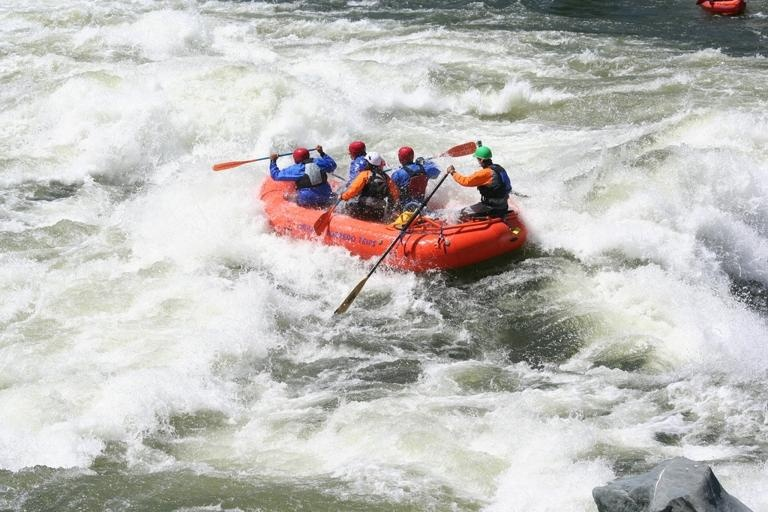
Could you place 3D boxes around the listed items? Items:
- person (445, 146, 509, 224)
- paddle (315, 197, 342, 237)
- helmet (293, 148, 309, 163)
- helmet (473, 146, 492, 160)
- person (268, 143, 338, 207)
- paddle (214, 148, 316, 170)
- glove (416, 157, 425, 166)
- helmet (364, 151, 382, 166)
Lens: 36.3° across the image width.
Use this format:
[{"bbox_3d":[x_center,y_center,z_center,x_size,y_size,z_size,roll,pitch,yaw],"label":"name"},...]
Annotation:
[{"bbox_3d":[1.821,-1.308,22.333,1.141,1.415,1.102,21,43,32],"label":"person"},{"bbox_3d":[-1.027,-0.746,22.321,0.264,0.060,1.042,47,66,-5],"label":"paddle"},{"bbox_3d":[-1.593,-1.986,23.001,0.309,0.221,0.321,-1,23,-7],"label":"helmet"},{"bbox_3d":[1.888,-1.922,21.942,0.295,0.155,0.333,-17,27,-23],"label":"helmet"},{"bbox_3d":[-1.584,-1.558,23.210,1.091,1.287,0.734,-25,58,-13],"label":"person"},{"bbox_3d":[-2.372,-1.977,24.015,2.813,0.126,0.239,-10,78,-14],"label":"paddle"},{"bbox_3d":[0.754,-1.816,22.494,0.231,0.076,0.238,1,19,3],"label":"glove"},{"bbox_3d":[-0.139,-1.821,22.279,0.307,0.231,0.251,2,33,2],"label":"helmet"}]
